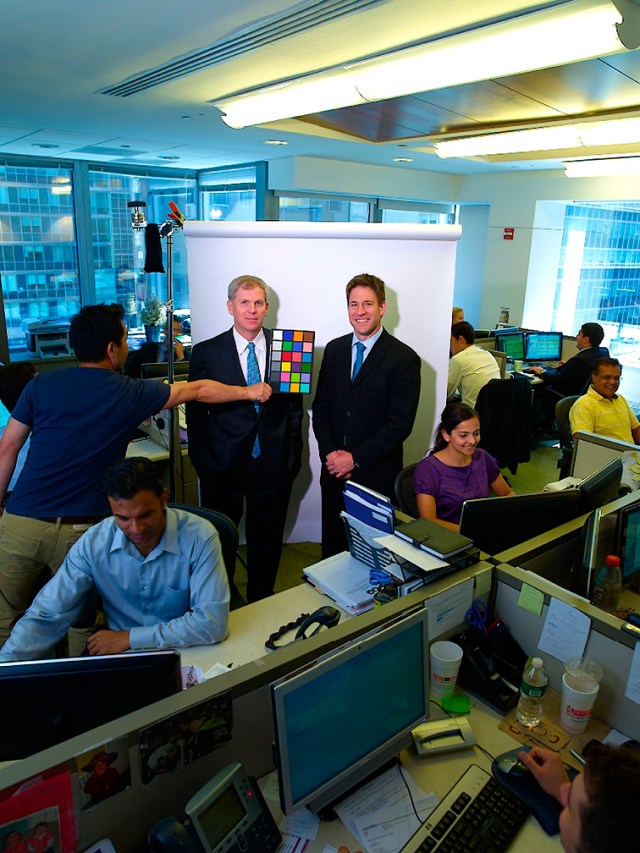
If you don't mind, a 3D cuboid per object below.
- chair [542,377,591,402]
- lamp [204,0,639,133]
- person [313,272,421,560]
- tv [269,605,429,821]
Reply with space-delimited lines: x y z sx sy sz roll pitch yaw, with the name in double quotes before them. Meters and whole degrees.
"chair" 2.194 -0.352 5.515 0.457 0.247 0.373 0 3 27
"lamp" 0.349 -1.652 2.883 0.458 0.237 2.320 -11 19 -34
"person" 0.224 -0.001 3.033 0.514 1.449 0.350 -1 17 0
"tv" 0.075 0.634 1.315 0.369 0.298 0.050 -15 20 -37
